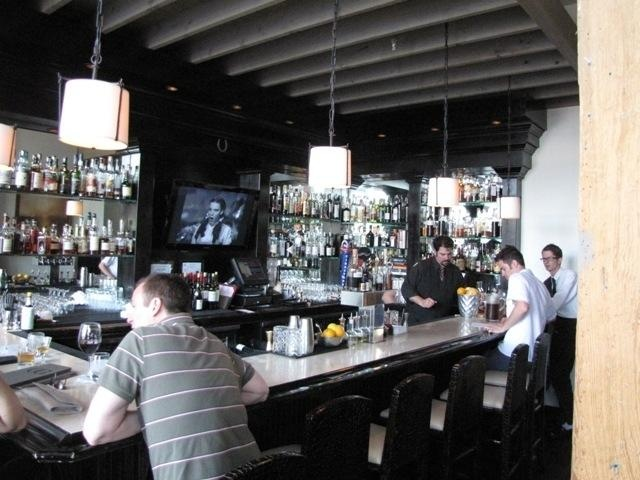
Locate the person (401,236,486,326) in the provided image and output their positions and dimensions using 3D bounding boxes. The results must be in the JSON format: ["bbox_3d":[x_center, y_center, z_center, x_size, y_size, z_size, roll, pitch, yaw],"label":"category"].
[{"bbox_3d":[1.306,0.466,5.835,0.573,0.977,0.740,3,0,42],"label":"person"}]

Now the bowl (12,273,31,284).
[{"bbox_3d":[-2.671,0.338,4.445,0.091,0.052,0.094,0,0,0],"label":"bowl"}]

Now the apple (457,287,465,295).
[{"bbox_3d":[1.426,0.523,5.020,0.061,0.071,0.060,-20,41,-27],"label":"apple"}]

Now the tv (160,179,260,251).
[{"bbox_3d":[-1.276,-0.274,5.590,0.839,0.571,0.108,1,13,-37],"label":"tv"}]

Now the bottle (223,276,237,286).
[{"bbox_3d":[-0.989,0.452,5.518,0.124,0.030,0.123,-26,9,4],"label":"bottle"}]

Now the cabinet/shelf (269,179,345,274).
[{"bbox_3d":[-0.224,-0.168,6.470,1.254,1.160,0.409,0,3,-44],"label":"cabinet/shelf"}]

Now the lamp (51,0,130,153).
[{"bbox_3d":[-1.156,-0.884,2.587,0.321,0.801,0.280,4,0,-22],"label":"lamp"}]

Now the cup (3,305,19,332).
[{"bbox_3d":[-2.352,0.600,3.783,0.120,0.178,0.302,4,0,-31],"label":"cup"}]

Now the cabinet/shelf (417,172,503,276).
[{"bbox_3d":[1.775,-0.187,6.151,1.230,1.483,0.421,-3,-7,37],"label":"cabinet/shelf"}]

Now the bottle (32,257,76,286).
[{"bbox_3d":[-2.448,0.289,4.596,0.361,0.285,0.097,4,0,-30],"label":"bottle"}]

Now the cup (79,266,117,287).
[{"bbox_3d":[-2.161,0.364,4.816,0.280,0.191,0.159,1,0,-18],"label":"cup"}]

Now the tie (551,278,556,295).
[{"bbox_3d":[2.537,0.513,5.399,0.032,0.134,0.094,6,-4,4],"label":"tie"}]

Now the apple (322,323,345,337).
[{"bbox_3d":[0.095,0.618,3.417,0.097,0.044,0.094,-5,0,-15],"label":"apple"}]

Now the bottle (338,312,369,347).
[{"bbox_3d":[0.246,0.647,3.569,0.079,0.224,0.231,-6,-7,40],"label":"bottle"}]

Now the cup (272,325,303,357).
[{"bbox_3d":[-0.233,0.635,3.200,0.151,0.202,0.268,4,-4,-43],"label":"cup"}]

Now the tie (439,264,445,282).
[{"bbox_3d":[1.405,0.376,5.721,0.057,0.170,0.024,4,0,-4],"label":"tie"}]
